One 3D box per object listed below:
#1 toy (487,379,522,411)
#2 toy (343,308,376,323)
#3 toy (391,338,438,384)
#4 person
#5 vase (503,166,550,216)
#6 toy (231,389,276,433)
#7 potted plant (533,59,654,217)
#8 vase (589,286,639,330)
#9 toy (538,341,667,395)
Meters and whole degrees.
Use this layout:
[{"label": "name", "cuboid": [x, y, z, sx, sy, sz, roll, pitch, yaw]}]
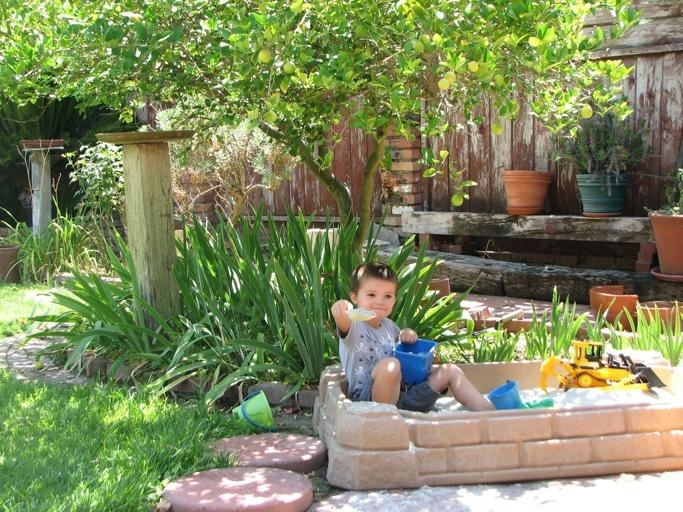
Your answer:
[{"label": "toy", "cuboid": [0.707, 0.615, 2.360, 0.127, 0.104, 0.112, -23, -10, -43]}, {"label": "toy", "cuboid": [0.091, 0.261, 2.345, 0.114, 0.066, 0.098, -1, 5, 10]}, {"label": "toy", "cuboid": [0.334, 0.492, 2.453, 0.190, 0.184, 0.200, -1, 5, 9]}, {"label": "person", "cuboid": [0.352, 0.374, 2.359, 0.743, 0.718, 0.671, -2, -8, 11]}, {"label": "vase", "cuboid": [2.126, -0.712, 6.240, 0.510, 0.441, 0.535, 3, 3, 39]}, {"label": "toy", "cuboid": [-0.395, 0.735, 2.555, 0.151, 0.191, 0.183, -25, 40, -1]}, {"label": "potted plant", "cuboid": [2.835, -1.218, 5.891, 0.975, 1.566, 0.859, -1, 6, 15]}, {"label": "vase", "cuboid": [2.039, 0.352, 4.117, 0.295, 0.238, 0.312, -3, -6, 31]}, {"label": "toy", "cuboid": [1.186, 0.532, 2.475, 0.410, 0.191, 0.286, -2, 5, 4]}]
